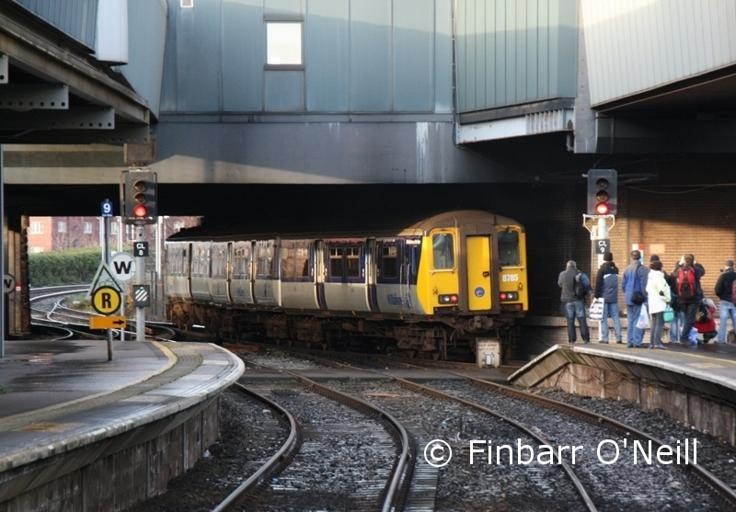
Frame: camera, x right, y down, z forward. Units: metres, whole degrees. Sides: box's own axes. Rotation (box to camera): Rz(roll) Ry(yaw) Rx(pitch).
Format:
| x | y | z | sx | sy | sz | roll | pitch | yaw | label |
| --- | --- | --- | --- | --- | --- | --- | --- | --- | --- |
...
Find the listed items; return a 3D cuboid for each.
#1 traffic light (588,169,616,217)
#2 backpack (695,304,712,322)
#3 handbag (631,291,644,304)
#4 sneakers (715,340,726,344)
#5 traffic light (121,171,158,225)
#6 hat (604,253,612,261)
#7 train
| x | y | z | sx | sy | sz | roll | pitch | yaw | label |
| --- | --- | --- | --- | --- | --- | --- | --- | --- | --- |
| 4.987 | -1.347 | 17.244 | 0.589 | 0.977 | 0.270 | -1 | 1 | 5 | traffic light |
| 7.438 | 1.237 | 17.937 | 0.284 | 0.436 | 0.404 | 2 | -5 | -19 | backpack |
| 5.683 | 0.858 | 17.057 | 0.239 | 0.283 | 0.117 | -2 | 2 | -8 | handbag |
| 8.154 | 1.982 | 18.728 | 0.063 | 0.081 | 0.172 | -1 | 9 | -32 | sneakers |
| -5.107 | -1.319 | 17.956 | 0.759 | 1.226 | 0.426 | -2 | 1 | -12 | traffic light |
| 5.195 | 0.015 | 17.498 | 0.128 | 0.161 | 0.174 | 2 | -5 | 16 | hat |
| -3.247 | 0.857 | 29.518 | 3.981 | 5.674 | 20.009 | -1 | 1 | -27 | train |
